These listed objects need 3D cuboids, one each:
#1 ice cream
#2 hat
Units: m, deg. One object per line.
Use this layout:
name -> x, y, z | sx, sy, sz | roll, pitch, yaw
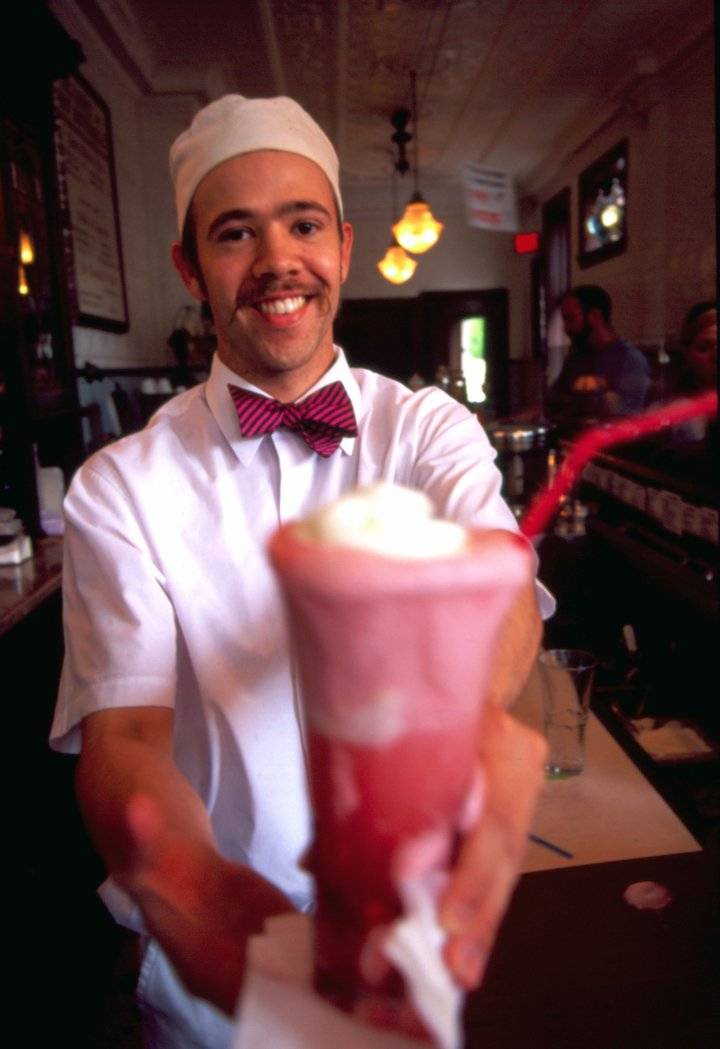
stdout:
ice cream -> 0.008, 0.101, 0.285 | 0.076, 0.237, 0.097 | 0, 12, -3
hat -> -0.146, -0.532, 1.125 | 0.203, 0.169, 0.192 | -16, -28, -13
